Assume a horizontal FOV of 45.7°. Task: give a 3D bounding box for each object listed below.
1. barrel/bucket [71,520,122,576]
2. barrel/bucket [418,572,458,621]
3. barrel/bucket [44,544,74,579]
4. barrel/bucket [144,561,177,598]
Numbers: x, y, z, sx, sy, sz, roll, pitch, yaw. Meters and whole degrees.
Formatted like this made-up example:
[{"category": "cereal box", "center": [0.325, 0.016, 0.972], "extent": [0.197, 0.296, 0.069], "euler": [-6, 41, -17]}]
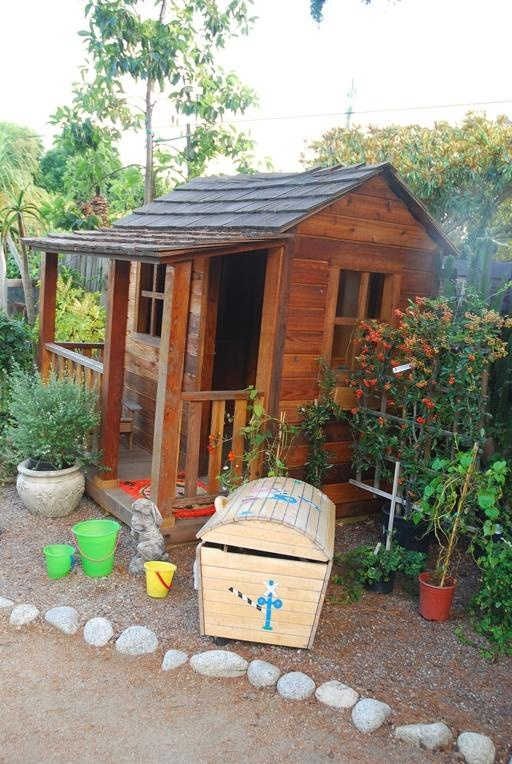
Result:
[{"category": "barrel/bucket", "center": [-1.099, 1.146, 4.331], "extent": [0.414, 0.337, 0.373], "euler": [-1, 1, -6]}, {"category": "barrel/bucket", "center": [1.191, 1.446, 4.054], "extent": [0.232, 0.265, 0.199], "euler": [7, 10, 18]}, {"category": "barrel/bucket", "center": [-1.399, 1.261, 4.318], "extent": [0.201, 0.206, 0.263], "euler": [1, 9, -17]}, {"category": "barrel/bucket", "center": [-0.647, 1.301, 4.035], "extent": [0.234, 0.183, 0.235], "euler": [-1, -7, 0]}]
